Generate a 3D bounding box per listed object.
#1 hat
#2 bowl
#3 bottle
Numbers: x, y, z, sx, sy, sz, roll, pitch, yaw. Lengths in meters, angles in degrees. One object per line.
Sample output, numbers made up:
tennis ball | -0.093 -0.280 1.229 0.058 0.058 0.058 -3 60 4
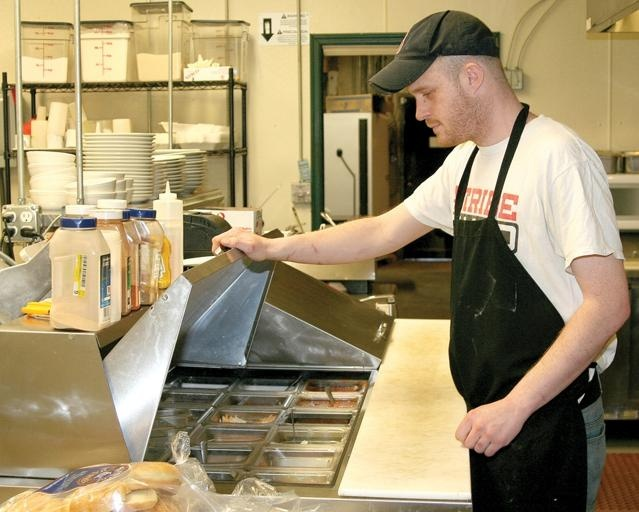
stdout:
hat | 0.255 -0.450 1.511 0.275 0.135 0.177 -3 8 1
bowl | -0.897 -0.283 2.451 0.383 0.230 0.306 -1 6 -5
bottle | -0.354 -0.005 1.352 0.205 0.352 0.222 -2 11 0
